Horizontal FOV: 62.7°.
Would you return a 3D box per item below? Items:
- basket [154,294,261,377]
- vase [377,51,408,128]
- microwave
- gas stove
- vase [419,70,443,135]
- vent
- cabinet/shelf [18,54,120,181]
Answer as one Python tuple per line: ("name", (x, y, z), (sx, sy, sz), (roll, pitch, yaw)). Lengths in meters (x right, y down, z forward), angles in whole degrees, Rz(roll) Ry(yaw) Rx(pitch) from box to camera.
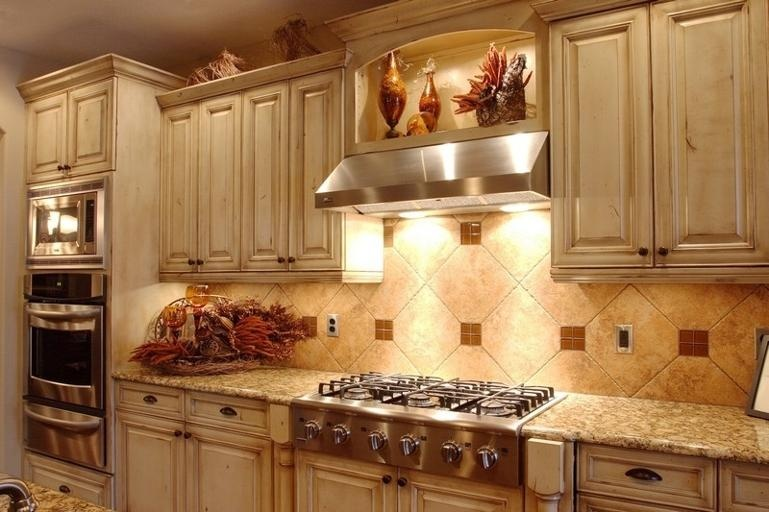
("basket", (-1.197, 0.477, 4.213), (0.593, 0.371, 0.571), (0, 1, 2))
("vase", (0.034, -0.981, 3.799), (0.165, 0.478, 0.126), (-6, -5, 42))
("microwave", (-2.173, -0.210, 4.295), (0.487, 0.333, 0.230), (-2, -6, 28))
("gas stove", (0.216, 0.907, 3.359), (1.320, 0.458, 0.550), (-4, -4, 23))
("vase", (0.277, -0.927, 3.831), (0.133, 0.397, 0.220), (-3, -4, 6))
("vent", (0.284, -0.450, 3.521), (1.257, 0.377, 0.425), (-4, -4, 20))
("cabinet/shelf", (-2.189, -0.925, 4.393), (1.012, 0.795, 0.419), (-5, -8, 32))
